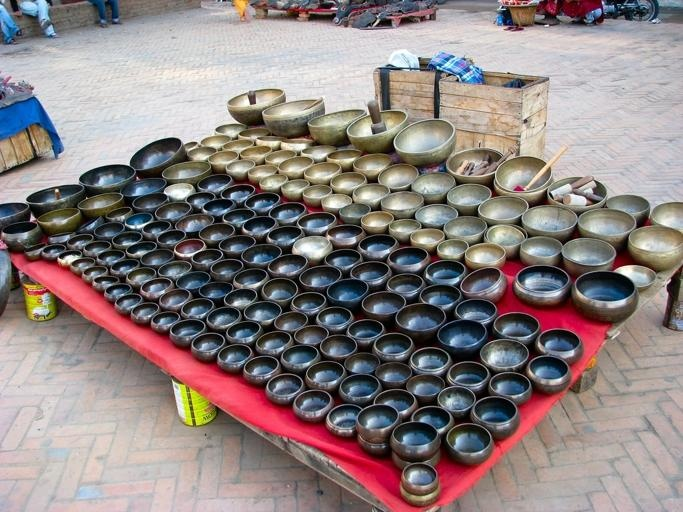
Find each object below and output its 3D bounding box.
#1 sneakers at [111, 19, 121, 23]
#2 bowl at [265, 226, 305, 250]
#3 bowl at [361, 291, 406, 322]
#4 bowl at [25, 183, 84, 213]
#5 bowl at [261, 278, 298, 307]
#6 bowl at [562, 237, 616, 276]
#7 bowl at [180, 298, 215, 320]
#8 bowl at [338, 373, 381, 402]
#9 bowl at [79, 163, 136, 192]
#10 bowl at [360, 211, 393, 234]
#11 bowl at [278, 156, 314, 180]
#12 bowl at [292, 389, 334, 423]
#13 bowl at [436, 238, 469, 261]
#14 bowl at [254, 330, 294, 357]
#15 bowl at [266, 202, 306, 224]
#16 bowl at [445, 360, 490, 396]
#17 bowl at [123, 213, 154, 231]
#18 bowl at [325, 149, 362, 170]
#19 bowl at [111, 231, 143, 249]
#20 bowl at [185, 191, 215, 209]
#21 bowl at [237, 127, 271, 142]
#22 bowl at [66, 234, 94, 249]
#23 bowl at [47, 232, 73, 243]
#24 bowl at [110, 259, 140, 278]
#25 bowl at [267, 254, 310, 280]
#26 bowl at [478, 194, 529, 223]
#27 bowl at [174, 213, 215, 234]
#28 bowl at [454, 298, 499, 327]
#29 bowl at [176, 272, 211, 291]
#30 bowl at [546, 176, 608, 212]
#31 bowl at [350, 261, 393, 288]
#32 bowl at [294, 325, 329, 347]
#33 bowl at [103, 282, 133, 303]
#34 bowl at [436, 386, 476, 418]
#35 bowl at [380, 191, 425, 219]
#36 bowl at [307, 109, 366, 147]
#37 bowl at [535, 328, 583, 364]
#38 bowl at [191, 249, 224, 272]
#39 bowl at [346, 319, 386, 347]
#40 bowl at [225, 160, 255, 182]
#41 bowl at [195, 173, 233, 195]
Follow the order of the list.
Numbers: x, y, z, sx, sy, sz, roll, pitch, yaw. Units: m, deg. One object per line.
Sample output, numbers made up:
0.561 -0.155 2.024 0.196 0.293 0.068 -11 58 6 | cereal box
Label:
-7.083 -7.391 16.191 0.236 0.145 0.306 -11 35 -15 | sneakers
-0.431 -0.152 3.949 0.288 0.084 0.225 -23 44 -11 | bowl
0.272 0.309 3.278 0.289 0.087 0.229 -14 29 -21 | bowl
-2.545 -0.518 4.596 0.543 0.203 0.379 4 27 5 | bowl
-0.418 0.238 3.497 0.311 0.112 0.198 3 45 4 | bowl
1.588 -0.020 3.296 0.397 0.164 0.276 -8 43 5 | bowl
-0.971 0.375 3.496 0.204 0.056 0.185 21 35 30 | bowl
0.106 0.740 2.849 0.232 0.089 0.196 3 33 5 | bowl
-2.200 -0.741 4.843 0.503 0.137 0.404 -20 48 -26 | bowl
0.274 -0.254 3.924 0.299 0.111 0.197 1 40 9 | bowl
-0.428 -0.826 4.714 0.395 0.109 0.260 -8 40 4 | bowl
-0.156 0.834 2.846 0.229 0.052 0.162 -4 23 -6 | bowl
0.756 -0.053 3.547 0.244 0.069 0.164 5 46 18 | bowl
-0.428 0.540 3.173 0.243 0.058 0.176 2 24 12 | bowl
-0.438 -0.353 4.158 0.328 0.078 0.210 2 42 10 | bowl
0.697 0.655 2.814 0.265 0.102 0.180 -6 40 1 | bowl
-1.690 -0.265 4.312 0.261 0.091 0.172 1 38 1 | bowl
0.005 -0.910 4.636 0.388 0.137 0.251 -1 41 5 | bowl
-1.730 -0.105 4.169 0.244 0.066 0.170 8 38 13 | bowl
-1.212 -0.486 4.431 0.261 0.087 0.165 0 45 3 | bowl
-0.926 -1.287 5.339 0.343 0.071 0.226 0 33 3 | bowl
-2.103 -0.116 4.217 0.197 0.058 0.151 -17 44 -23 | bowl
-2.335 -0.151 4.276 0.135 0.034 0.132 -8 6 1 | bowl
-1.641 0.096 3.915 0.226 0.063 0.182 -19 45 -27 | bowl
-0.395 0.067 3.655 0.296 0.076 0.200 -3 32 5 | bowl
1.234 -0.360 3.821 0.332 0.098 0.301 -30 41 -18 | bowl
-1.211 -0.275 4.254 0.302 0.060 0.193 0 43 7 | bowl
0.847 0.336 3.181 0.236 0.074 0.216 -5 36 4 | bowl
-1.066 0.171 3.727 0.217 0.057 0.170 11 36 26 | bowl
1.738 -0.464 3.775 0.500 0.177 0.348 4 39 12 | bowl
0.233 0.111 3.494 0.254 0.083 0.252 -3 38 2 | bowl
-0.186 0.495 3.232 0.208 0.058 0.144 3 32 10 | bowl
-1.603 0.250 3.736 0.206 0.057 0.173 19 40 24 | bowl
0.611 0.769 2.734 0.245 0.092 0.162 -7 39 -2 | bowl
0.473 -0.420 4.008 0.388 0.107 0.255 -4 40 9 | bowl
-0.050 -1.218 5.029 0.648 0.202 0.510 -12 25 -2 | bowl
1.244 0.513 2.929 0.292 0.098 0.203 0 40 13 | bowl
-1.006 0.050 3.893 0.265 0.068 0.181 6 40 10 | bowl
0.156 0.462 3.135 0.265 0.095 0.175 -9 42 -3 | bowl
-0.932 -0.804 4.756 0.339 0.123 0.234 1 44 0 | bowl
-1.147 -0.660 4.620 0.364 0.099 0.235 -1 40 5 | bowl
